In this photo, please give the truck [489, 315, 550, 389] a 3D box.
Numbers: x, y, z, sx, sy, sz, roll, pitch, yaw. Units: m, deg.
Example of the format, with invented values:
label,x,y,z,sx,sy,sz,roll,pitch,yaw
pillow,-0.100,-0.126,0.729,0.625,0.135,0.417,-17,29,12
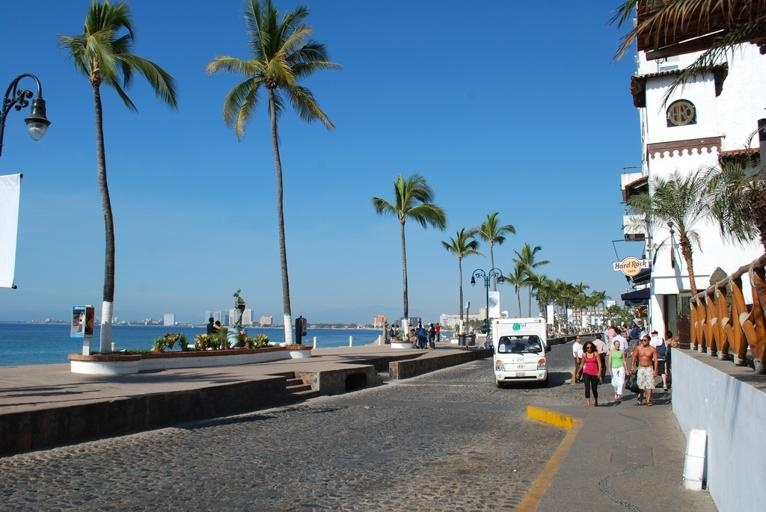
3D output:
label,x,y,z,sx,sy,sz,roll,pitch,yaw
truck,5.950,4.026,25.193,2.418,2.515,4.435,-2,-11,9
